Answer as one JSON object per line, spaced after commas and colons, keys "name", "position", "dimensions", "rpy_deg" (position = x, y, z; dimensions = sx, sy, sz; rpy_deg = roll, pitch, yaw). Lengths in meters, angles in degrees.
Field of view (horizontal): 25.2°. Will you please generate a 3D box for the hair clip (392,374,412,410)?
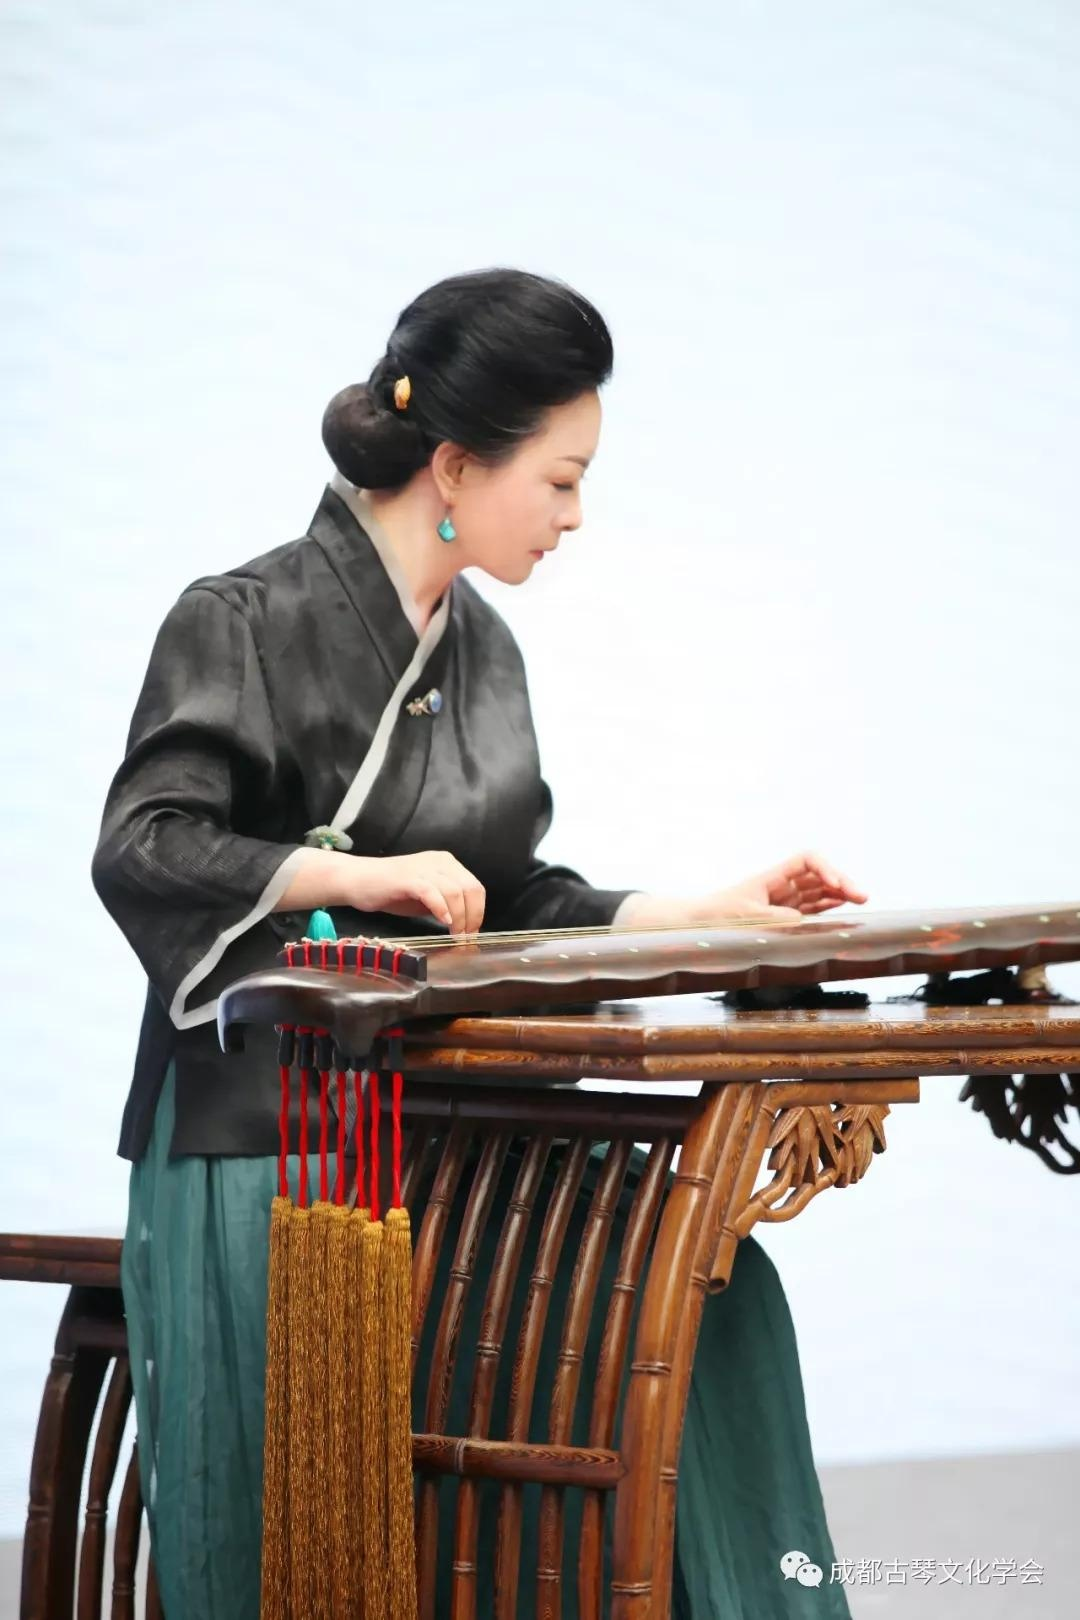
{"name": "hair clip", "position": [-0.110, -0.331, 1.905], "dimensions": [0.019, 0.022, 0.010], "rpy_deg": [-3, 2, 2]}
